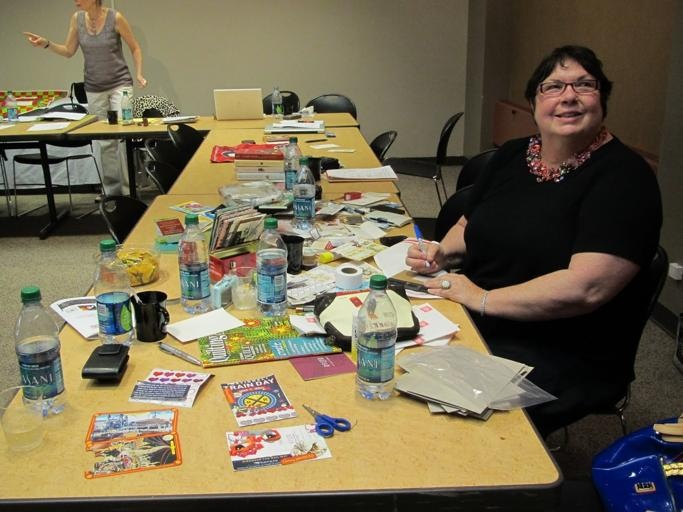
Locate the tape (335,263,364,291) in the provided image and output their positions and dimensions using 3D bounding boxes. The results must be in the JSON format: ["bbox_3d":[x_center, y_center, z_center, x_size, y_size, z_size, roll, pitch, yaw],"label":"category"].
[{"bbox_3d":[0.044,0.073,1.742,0.089,0.050,0.088,-13,20,-43],"label":"tape"}]

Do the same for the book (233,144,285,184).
[{"bbox_3d":[-0.445,-0.548,2.979,0.259,0.096,0.300,1,20,-3],"label":"book"}]

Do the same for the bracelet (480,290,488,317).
[{"bbox_3d":[0.499,0.167,1.722,0.018,0.063,0.067,7,-7,14],"label":"bracelet"}]

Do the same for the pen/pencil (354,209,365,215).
[{"bbox_3d":[0.108,-0.221,2.452,0.024,0.015,0.090,14,5,-37],"label":"pen/pencil"}]

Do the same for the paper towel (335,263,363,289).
[{"bbox_3d":[0.041,0.069,1.735,0.087,0.048,0.083,-8,22,-23],"label":"paper towel"}]

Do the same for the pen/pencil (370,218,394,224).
[{"bbox_3d":[0.206,-0.167,2.343,0.098,0.022,0.024,11,25,23],"label":"pen/pencil"}]

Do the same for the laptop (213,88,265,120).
[{"bbox_3d":[-0.951,-1.545,4.959,0.489,0.298,0.329,1,34,-3],"label":"laptop"}]
